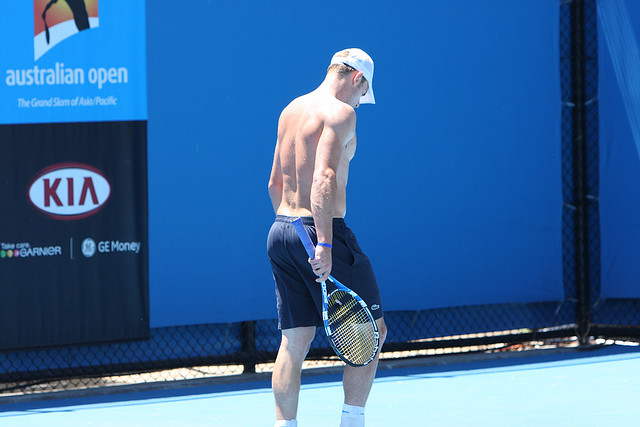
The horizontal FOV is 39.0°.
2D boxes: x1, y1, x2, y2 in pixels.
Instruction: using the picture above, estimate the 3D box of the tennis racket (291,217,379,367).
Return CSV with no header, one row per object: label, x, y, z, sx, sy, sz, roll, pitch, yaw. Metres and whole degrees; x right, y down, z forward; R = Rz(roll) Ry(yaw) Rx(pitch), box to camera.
tennis racket,0.128,0.480,6.442,0.366,1.341,0.081,-7,-32,-15
